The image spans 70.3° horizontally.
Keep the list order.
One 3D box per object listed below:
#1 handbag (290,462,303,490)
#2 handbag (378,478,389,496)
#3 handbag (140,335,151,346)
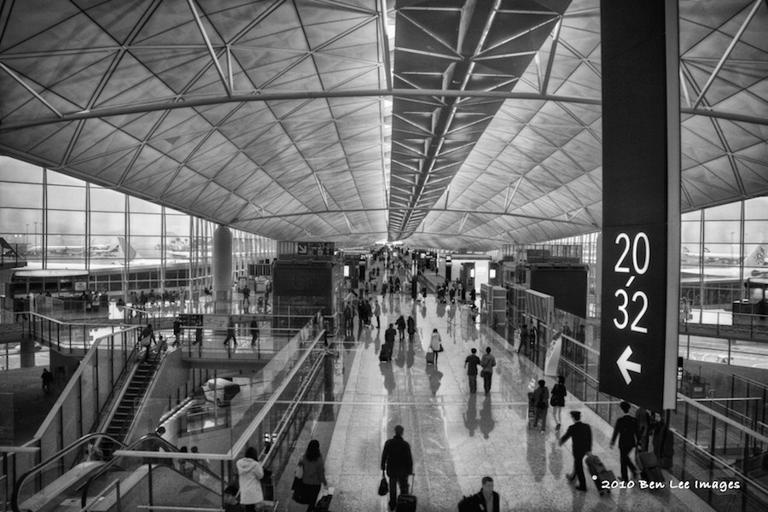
[{"bbox_3d":[-2.464,6.170,15.442,0.272,0.527,0.403,-1,0,-16],"label":"handbag"},{"bbox_3d":[-0.017,6.479,15.362,0.224,0.383,0.367,-1,0,8],"label":"handbag"},{"bbox_3d":[-13.823,4.863,31.718,0.448,0.427,0.496,6,-41,-7],"label":"handbag"}]
